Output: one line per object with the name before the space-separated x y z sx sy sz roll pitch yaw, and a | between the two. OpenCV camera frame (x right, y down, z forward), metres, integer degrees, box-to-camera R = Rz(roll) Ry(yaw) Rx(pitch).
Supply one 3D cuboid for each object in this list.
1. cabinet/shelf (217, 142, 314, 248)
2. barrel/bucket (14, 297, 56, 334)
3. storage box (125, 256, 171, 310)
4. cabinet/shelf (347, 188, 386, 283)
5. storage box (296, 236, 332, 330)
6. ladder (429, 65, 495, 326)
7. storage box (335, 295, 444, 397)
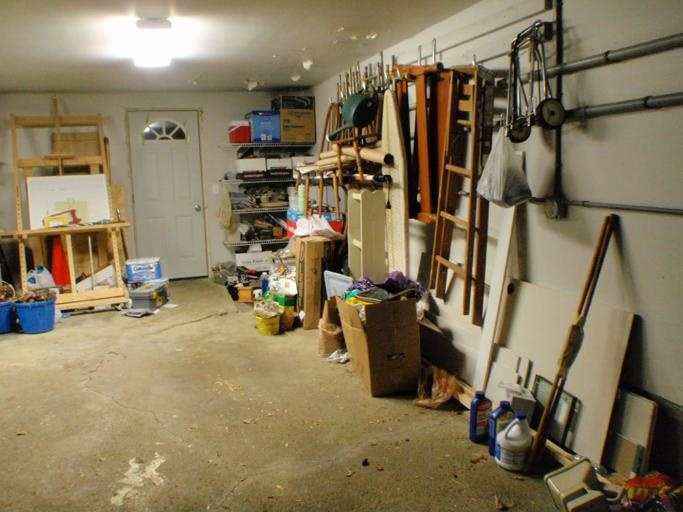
cabinet/shelf | -1.176 -1.187 7.172 1.200 0.426 1.355 7 25 -16
barrel/bucket | -3.028 0.584 5.089 0.352 0.292 0.343 -3 -5 0
storage box | -2.208 0.309 5.881 0.435 0.582 0.587 2 14 16
cabinet/shelf | 0.216 -0.178 4.348 0.261 0.767 0.370 -9 12 -18
storage box | -0.325 0.225 5.178 0.258 0.740 0.429 3 2 -8
ladder | 0.828 -0.415 3.553 0.438 1.761 0.610 -7 11 -10
storage box | 0.277 0.636 4.070 0.481 0.613 0.848 -4 1 -11
